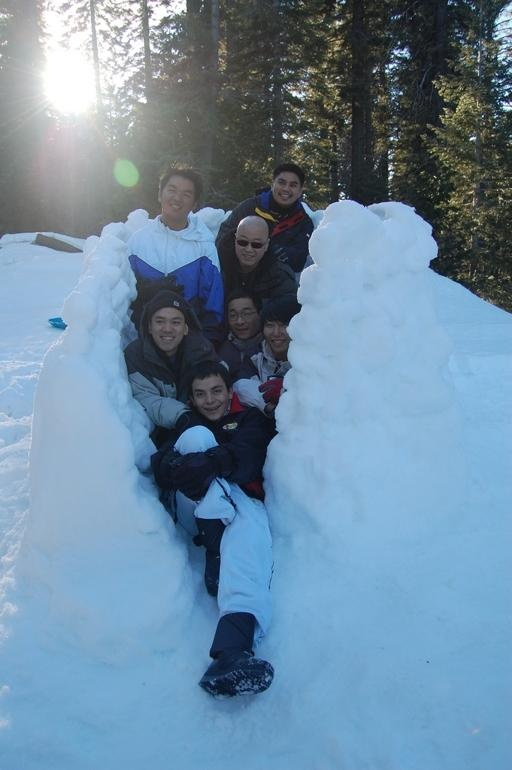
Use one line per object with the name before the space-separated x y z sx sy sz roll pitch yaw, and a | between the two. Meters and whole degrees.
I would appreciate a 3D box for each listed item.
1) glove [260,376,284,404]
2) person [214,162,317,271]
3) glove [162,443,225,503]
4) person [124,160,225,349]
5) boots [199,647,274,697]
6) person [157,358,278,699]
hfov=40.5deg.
glove | 0.094 0.039 3.251 0.035 0.113 0.113 43 -3 -28
person | 0.089 -1.152 5.139 0.676 0.963 0.624 6 37 -12
glove | -0.251 0.353 2.794 0.212 0.214 0.098 46 -2 0
person | -0.559 -0.740 4.160 0.784 1.037 0.684 2 13 -1
boots | -0.063 0.934 2.238 0.187 0.059 0.142 -5 5 15
person | -0.093 0.561 2.737 0.434 0.500 1.139 0 52 -4
